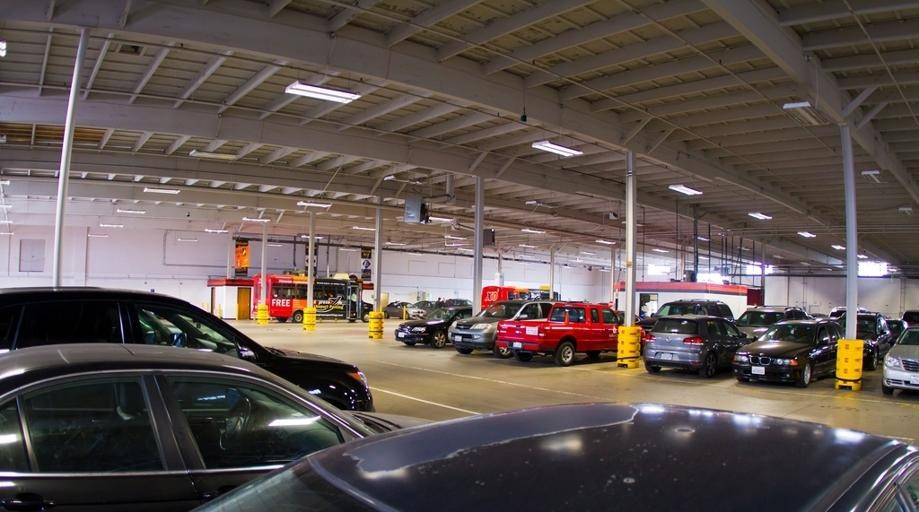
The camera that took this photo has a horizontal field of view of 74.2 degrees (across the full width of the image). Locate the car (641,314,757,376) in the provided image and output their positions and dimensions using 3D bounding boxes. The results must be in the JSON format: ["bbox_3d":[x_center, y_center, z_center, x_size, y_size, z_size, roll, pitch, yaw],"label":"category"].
[{"bbox_3d":[7.621,2.713,19.533,3.302,1.068,1.917,0,-1,-42],"label":"car"}]

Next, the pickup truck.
[{"bbox_3d":[3.813,2.575,21.791,4.732,1.223,2.122,1,-4,-34],"label":"pickup truck"}]

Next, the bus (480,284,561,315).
[{"bbox_3d":[3.405,2.576,36.734,6.942,1.777,2.157,-1,0,-41],"label":"bus"}]

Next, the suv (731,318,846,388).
[{"bbox_3d":[9.688,2.868,17.946,3.227,1.744,1.364,-2,-1,-34],"label":"suv"}]
